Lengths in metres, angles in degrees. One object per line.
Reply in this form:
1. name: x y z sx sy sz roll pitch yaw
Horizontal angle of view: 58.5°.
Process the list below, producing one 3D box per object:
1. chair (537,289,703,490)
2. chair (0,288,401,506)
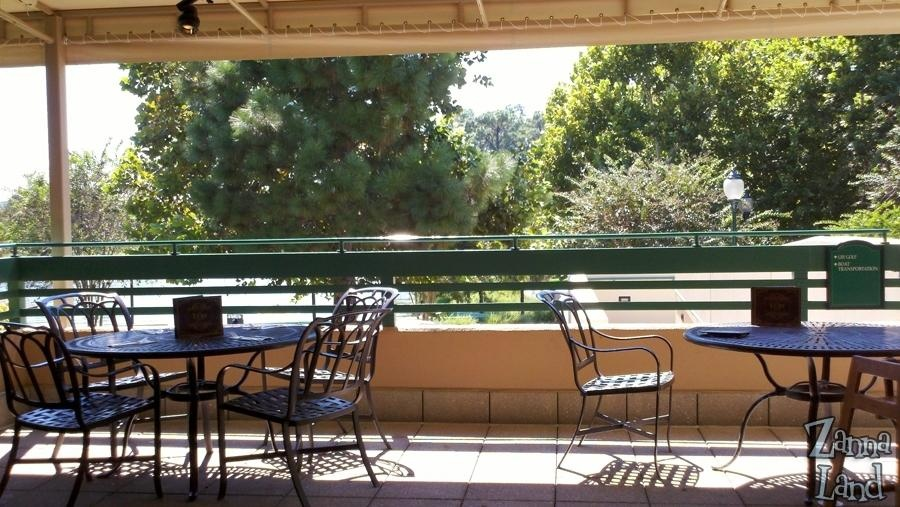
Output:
1. chair: 1.756 1.343 8.867 1.379 1.843 1.309 -2 0 17
2. chair: -2.228 1.441 8.738 3.029 1.662 2.281 1 -5 2
